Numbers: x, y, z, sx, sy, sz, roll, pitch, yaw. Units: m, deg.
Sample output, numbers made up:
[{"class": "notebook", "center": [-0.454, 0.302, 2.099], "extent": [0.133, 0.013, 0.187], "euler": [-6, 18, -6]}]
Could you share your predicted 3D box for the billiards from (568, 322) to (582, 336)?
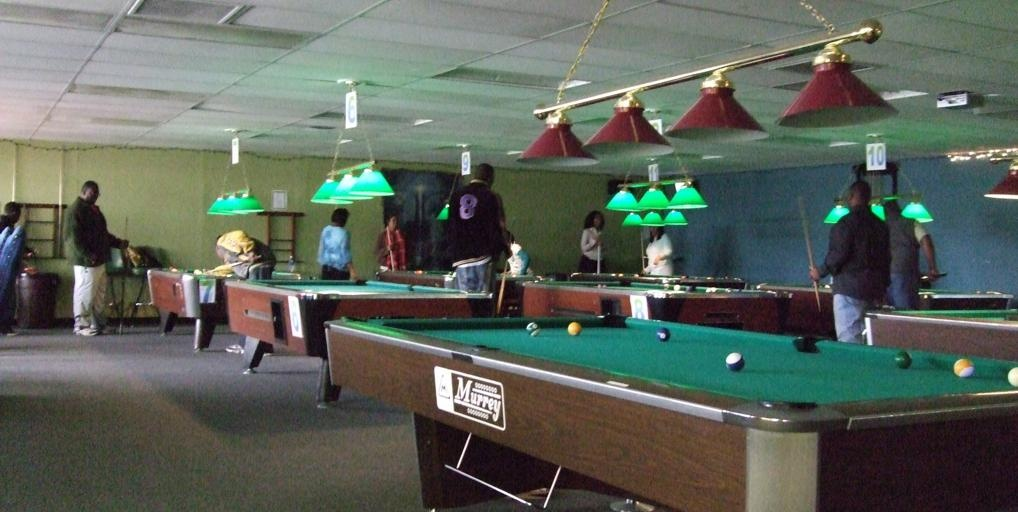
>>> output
[{"class": "billiards", "center": [0.581, 0.630, 6.749], "extent": [0.124, 0.095, 0.108], "euler": [-2, -3, 10]}]

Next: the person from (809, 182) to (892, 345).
[{"class": "person", "center": [3.968, 0.283, 8.948], "extent": [0.967, 2.150, 0.696], "euler": [-9, 10, -29]}]

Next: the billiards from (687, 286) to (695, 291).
[{"class": "billiards", "center": [2.255, 0.395, 9.531], "extent": [0.124, 0.065, 0.113], "euler": [-1, 1, -21]}]

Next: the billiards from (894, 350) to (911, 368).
[{"class": "billiards", "center": [3.026, 0.787, 5.970], "extent": [0.137, 0.116, 0.119], "euler": [-1, -9, -3]}]

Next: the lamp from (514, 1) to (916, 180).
[{"class": "lamp", "center": [1.761, -1.391, 6.846], "extent": [3.020, 1.314, 0.636], "euler": [6, 14, 22]}]

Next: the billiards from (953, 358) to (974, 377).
[{"class": "billiards", "center": [3.400, 0.833, 5.818], "extent": [0.141, 0.124, 0.136], "euler": [-33, -13, 32]}]

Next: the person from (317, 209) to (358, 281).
[{"class": "person", "center": [-2.975, -0.215, 13.129], "extent": [0.566, 1.318, 1.466], "euler": [3, -1, -23]}]

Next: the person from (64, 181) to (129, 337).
[{"class": "person", "center": [-6.806, 0.046, 12.454], "extent": [0.601, 2.499, 0.496], "euler": [-6, 16, -30]}]

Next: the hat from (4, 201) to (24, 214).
[{"class": "hat", "center": [-8.197, -0.815, 12.699], "extent": [0.190, 0.185, 0.497], "euler": [-4, 12, -25]}]
